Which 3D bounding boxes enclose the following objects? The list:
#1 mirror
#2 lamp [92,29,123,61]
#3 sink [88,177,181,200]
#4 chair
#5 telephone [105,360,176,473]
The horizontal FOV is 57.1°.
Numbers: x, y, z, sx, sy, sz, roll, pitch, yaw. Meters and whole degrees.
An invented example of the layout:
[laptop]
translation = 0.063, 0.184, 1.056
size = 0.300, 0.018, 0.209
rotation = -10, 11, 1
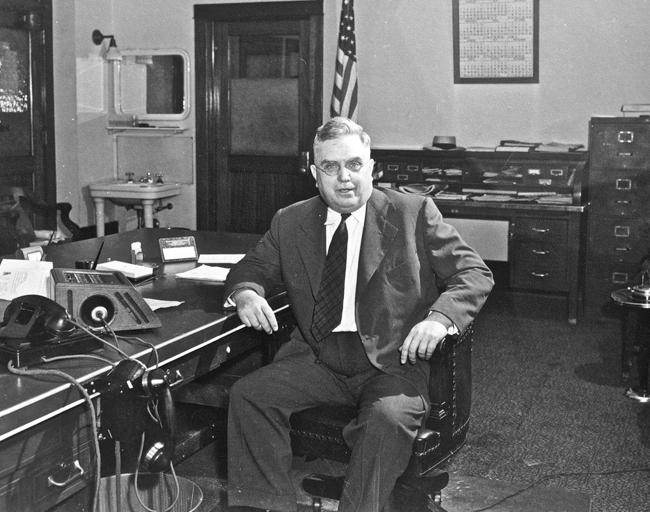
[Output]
[mirror]
translation = -2.067, -2.023, 7.092
size = 0.997, 0.833, 0.059
rotation = 2, 17, 6
[lamp]
translation = -2.481, -2.472, 6.974
size = 0.333, 0.363, 0.338
rotation = 3, 11, 19
[sink]
translation = -2.245, -0.753, 6.952
size = 1.013, 0.211, 0.545
rotation = 2, 10, 9
[chair]
translation = 0.134, 0.567, 2.288
size = 0.610, 0.786, 0.630
rotation = 0, -6, 27
[telephone]
translation = -0.494, 0.433, 1.656
size = 0.184, 0.355, 0.169
rotation = 7, 15, 17
